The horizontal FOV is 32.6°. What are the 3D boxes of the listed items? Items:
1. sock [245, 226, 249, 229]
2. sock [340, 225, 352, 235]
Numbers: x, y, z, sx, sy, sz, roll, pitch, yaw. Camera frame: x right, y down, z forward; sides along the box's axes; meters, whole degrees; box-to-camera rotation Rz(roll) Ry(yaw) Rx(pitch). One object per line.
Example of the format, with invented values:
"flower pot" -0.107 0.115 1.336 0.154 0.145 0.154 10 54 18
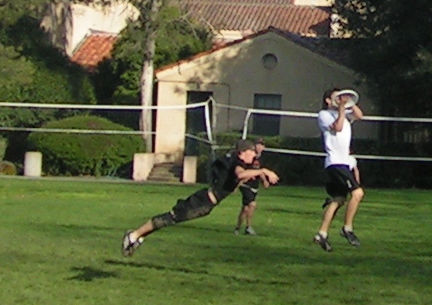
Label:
"sock" 0.778 1.891 19.212 0.094 0.093 0.096 1 2 -9
"sock" 3.191 1.840 18.250 0.322 0.165 0.123 -5 7 0
